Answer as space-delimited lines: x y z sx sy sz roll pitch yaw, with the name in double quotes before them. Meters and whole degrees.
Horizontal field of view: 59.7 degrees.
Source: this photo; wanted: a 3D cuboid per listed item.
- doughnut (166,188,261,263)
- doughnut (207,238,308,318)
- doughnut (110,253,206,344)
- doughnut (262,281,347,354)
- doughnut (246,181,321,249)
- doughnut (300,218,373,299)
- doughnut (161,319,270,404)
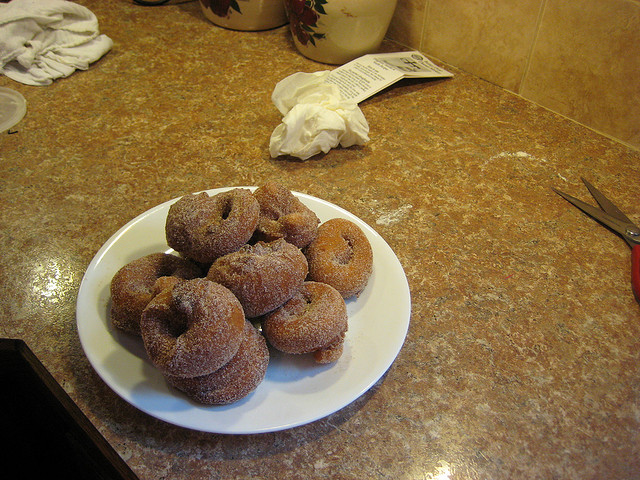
"doughnut" -0.154 -0.033 0.738 0.102 0.044 0.111 6 37 7
"doughnut" -0.087 0.043 0.789 0.147 0.064 0.157 0 21 24
"doughnut" -0.231 0.070 0.782 0.130 0.050 0.127 -28 48 -34
"doughnut" -0.028 0.104 0.789 0.132 0.047 0.139 -11 29 -15
"doughnut" -0.041 -0.037 0.793 0.093 0.038 0.097 4 53 -23
"doughnut" 0.033 0.006 0.832 0.100 0.124 0.040 -15 27 -5
"doughnut" -0.121 0.172 0.711 0.102 0.054 0.111 5 42 -6
